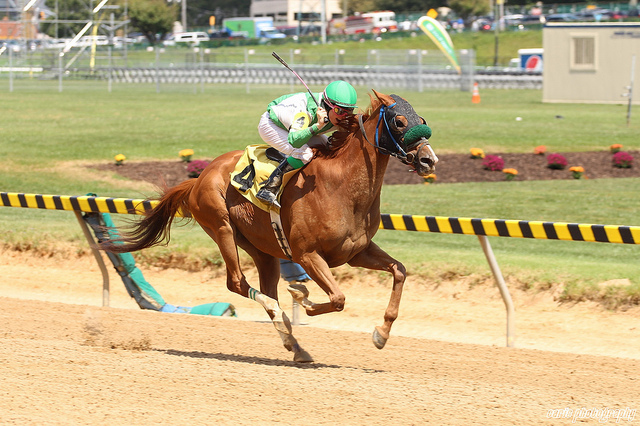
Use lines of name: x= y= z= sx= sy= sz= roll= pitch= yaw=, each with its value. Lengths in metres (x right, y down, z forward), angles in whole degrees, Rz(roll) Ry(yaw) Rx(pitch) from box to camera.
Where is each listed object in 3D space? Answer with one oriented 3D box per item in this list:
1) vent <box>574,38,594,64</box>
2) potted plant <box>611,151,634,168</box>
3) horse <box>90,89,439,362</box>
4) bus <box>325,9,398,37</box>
vent: x=4.430 y=-2.728 z=16.729 sx=0.170 sy=0.432 sz=0.424 roll=-9 pitch=14 yaw=-37
potted plant: x=4.686 y=-0.811 z=15.382 sx=0.318 sy=0.233 sz=0.237 roll=3 pitch=11 yaw=14
horse: x=-0.337 y=0.096 z=9.632 sx=2.815 sy=2.569 sz=0.825 roll=8 pitch=15 yaw=38
bus: x=2.047 y=-8.348 z=44.110 sx=3.302 sy=1.001 sz=1.150 roll=2 pitch=4 yaw=32
